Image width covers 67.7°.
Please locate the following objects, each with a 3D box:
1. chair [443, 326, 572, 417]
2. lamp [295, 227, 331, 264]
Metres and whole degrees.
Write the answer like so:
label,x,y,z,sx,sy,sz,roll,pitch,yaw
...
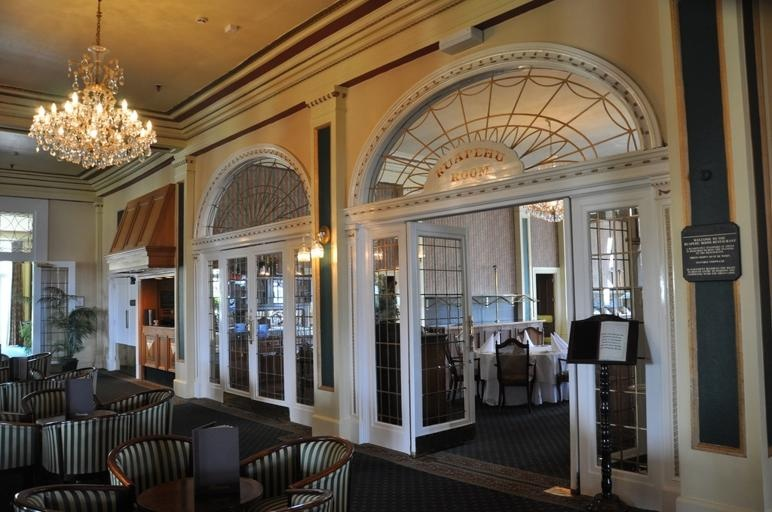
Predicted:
label,x,y,z,sx,sy,sz,roll,pitch,yaw
chair,2.284,1.981,10.183,1.663,1.094,1.280,-3,0,22
lamp,-1.160,-0.120,8.847,0.440,0.666,0.653,2,-3,-39
